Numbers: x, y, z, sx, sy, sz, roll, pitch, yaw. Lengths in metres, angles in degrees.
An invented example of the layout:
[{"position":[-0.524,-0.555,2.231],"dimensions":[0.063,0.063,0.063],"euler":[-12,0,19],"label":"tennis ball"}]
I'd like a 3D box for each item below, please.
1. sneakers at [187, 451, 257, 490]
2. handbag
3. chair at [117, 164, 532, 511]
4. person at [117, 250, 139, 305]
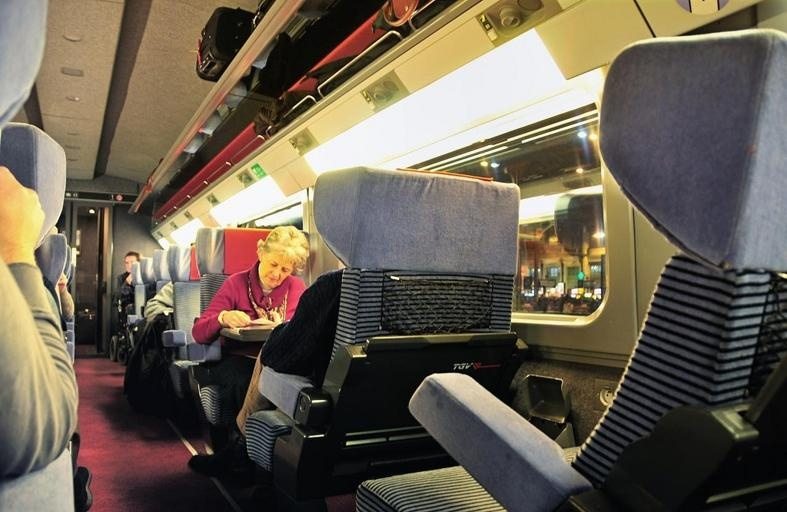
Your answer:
[{"position":[-1.336,1.609,3.888],"dimensions":[0.455,0.165,0.282],"euler":[1,-2,23],"label":"sneakers"},{"position":[-2.786,1.312,6.046],"dimensions":[0.768,1.085,0.394],"euler":[1,-13,7],"label":"handbag"},{"position":[-0.455,0.360,2.930],"dimensions":[1.324,1.893,1.660],"euler":[3,-4,-31],"label":"chair"},{"position":[-6.003,0.583,11.507],"dimensions":[0.554,1.710,0.513],"euler":[-2,33,-31],"label":"person"}]
